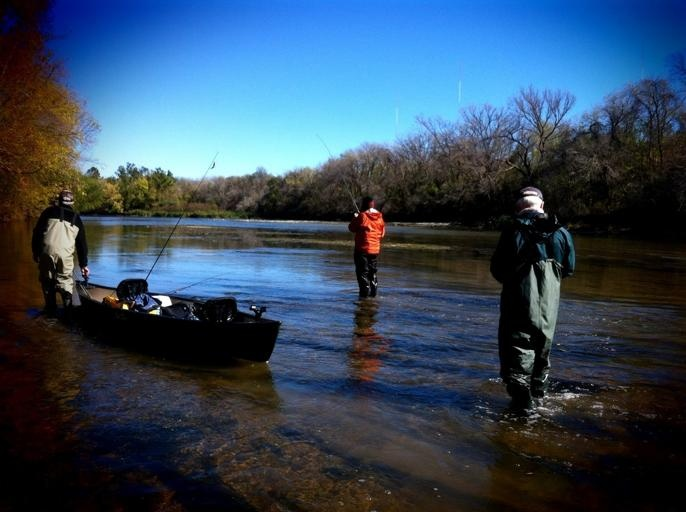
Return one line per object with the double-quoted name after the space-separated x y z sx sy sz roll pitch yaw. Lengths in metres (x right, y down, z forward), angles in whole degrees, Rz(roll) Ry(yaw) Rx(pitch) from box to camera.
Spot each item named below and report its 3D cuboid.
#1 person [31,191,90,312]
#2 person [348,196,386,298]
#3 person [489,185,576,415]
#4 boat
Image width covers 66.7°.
-5.212 -0.069 9.462 0.879 2.265 0.785 1 2 -24 "person"
0.404 -0.211 12.095 0.933 2.200 0.793 10 7 34 "person"
2.119 0.521 5.920 0.992 2.506 1.000 5 9 41 "person"
-2.634 0.948 7.811 4.074 1.046 0.844 2 2 33 "boat"
